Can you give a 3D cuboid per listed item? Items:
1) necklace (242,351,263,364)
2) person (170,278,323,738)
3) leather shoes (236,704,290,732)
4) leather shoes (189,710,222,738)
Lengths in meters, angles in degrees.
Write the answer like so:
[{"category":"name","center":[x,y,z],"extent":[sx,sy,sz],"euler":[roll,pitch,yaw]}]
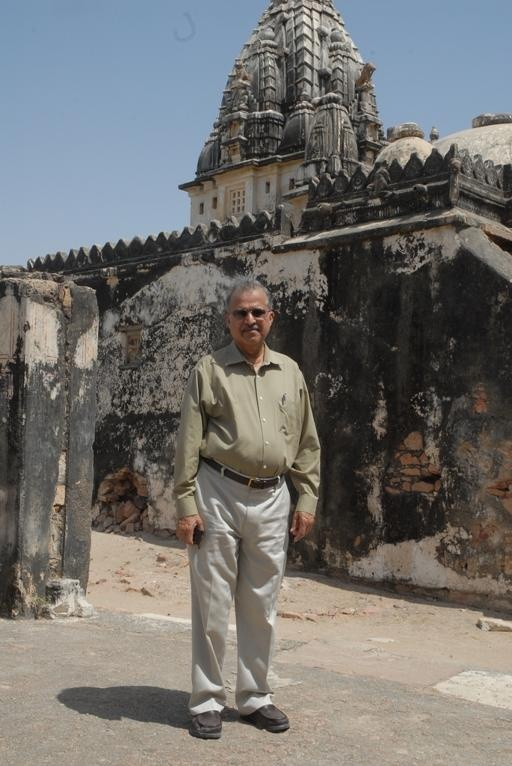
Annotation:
[{"category":"necklace","center":[-0.005,-0.118,4.882],"extent":[0.054,0.053,0.065],"euler":[-3,-38,-12]},{"category":"person","center":[-0.027,0.465,4.797],"extent":[0.623,1.738,0.503],"euler":[3,-1,-13]},{"category":"leather shoes","center":[0.049,1.306,4.686],"extent":[0.070,0.080,0.179],"euler":[7,-11,-40]},{"category":"leather shoes","center":[-0.194,1.292,4.556],"extent":[0.121,0.098,0.118],"euler":[3,-1,-3]}]
